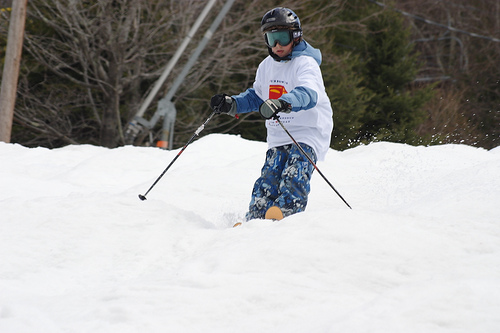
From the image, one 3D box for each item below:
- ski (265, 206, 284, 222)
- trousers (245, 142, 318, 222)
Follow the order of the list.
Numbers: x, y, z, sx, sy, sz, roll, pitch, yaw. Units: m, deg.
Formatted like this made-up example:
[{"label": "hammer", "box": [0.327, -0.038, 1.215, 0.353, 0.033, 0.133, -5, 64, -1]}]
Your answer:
[{"label": "ski", "box": [0.357, 0.677, 10.885, 0.245, 0.176, 0.189, 10, 9, 33]}, {"label": "trousers", "box": [0.521, 0.288, 11.414, 0.865, 1.505, 0.562, 17, -8, 38]}]
